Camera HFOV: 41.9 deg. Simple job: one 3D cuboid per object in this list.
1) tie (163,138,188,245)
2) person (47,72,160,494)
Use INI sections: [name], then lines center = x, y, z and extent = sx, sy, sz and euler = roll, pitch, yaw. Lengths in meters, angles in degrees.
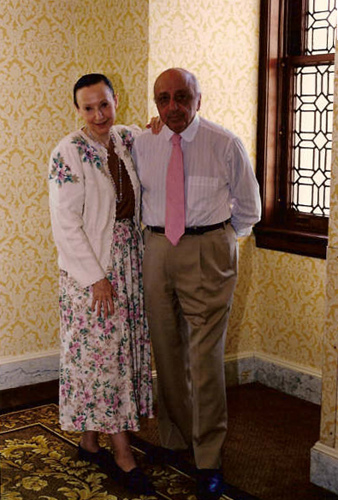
[tie]
center = 0.017, -0.199, 1.491
extent = 0.089, 0.358, 0.060
euler = 0, -1, 15
[person]
center = -0.215, 0.131, 1.557
extent = 0.357, 1.395, 0.401
euler = 0, -1, -2
